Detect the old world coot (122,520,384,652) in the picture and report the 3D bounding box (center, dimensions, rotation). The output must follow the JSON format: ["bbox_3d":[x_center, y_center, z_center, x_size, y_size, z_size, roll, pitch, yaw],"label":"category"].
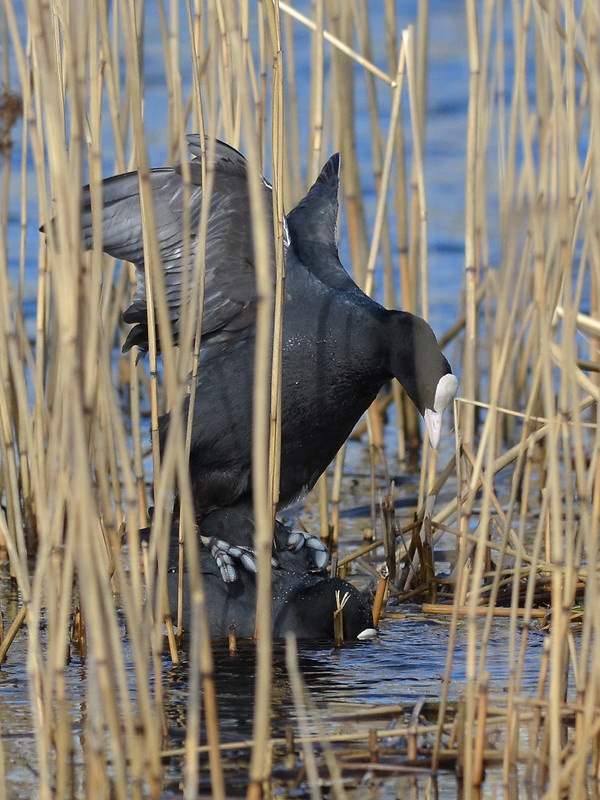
[{"bbox_3d":[-0.078,0.463,3.489,0.503,0.291,0.559,3,-2,-7],"label":"old world coot"}]
